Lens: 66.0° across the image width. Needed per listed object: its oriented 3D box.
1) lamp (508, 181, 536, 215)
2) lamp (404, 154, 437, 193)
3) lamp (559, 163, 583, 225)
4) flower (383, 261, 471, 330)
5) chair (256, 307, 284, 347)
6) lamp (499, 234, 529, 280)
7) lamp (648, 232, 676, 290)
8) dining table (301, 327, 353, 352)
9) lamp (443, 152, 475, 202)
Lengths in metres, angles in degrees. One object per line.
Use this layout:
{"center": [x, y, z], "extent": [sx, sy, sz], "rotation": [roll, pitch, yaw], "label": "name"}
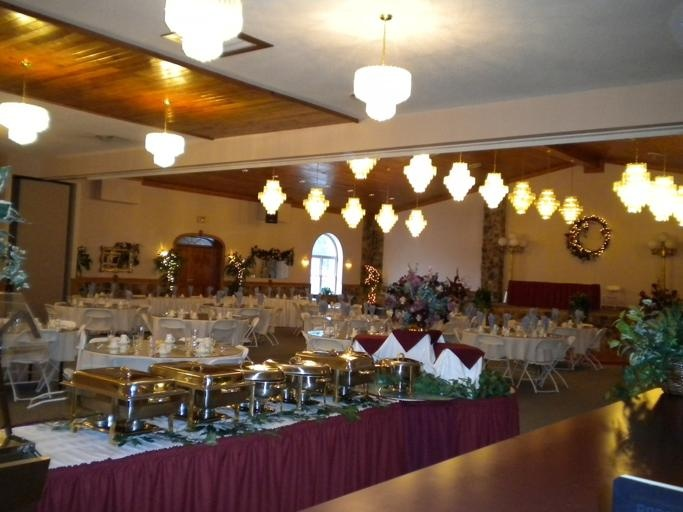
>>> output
{"center": [3.467, -1.164, 10.125], "extent": [0.418, 0.639, 0.556], "rotation": [4, 0, 32], "label": "lamp"}
{"center": [1.139, -1.257, 7.729], "extent": [0.410, 0.562, 0.677], "rotation": [4, 0, 16], "label": "lamp"}
{"center": [5.585, -1.569, 12.673], "extent": [0.580, 1.400, 3.890], "rotation": [4, 0, 24], "label": "lamp"}
{"center": [0.863, 0.385, 4.997], "extent": [0.552, 0.487, 0.680], "rotation": [-2, 20, 34], "label": "flower"}
{"center": [-1.642, 1.543, 11.675], "extent": [0.776, 1.031, 0.865], "rotation": [1, -6, -1], "label": "chair"}
{"center": [4.950, 0.022, 15.373], "extent": [0.667, 1.365, 0.952], "rotation": [3, 0, -35], "label": "lamp"}
{"center": [8.058, 0.125, 13.179], "extent": [0.590, 1.430, 0.448], "rotation": [4, 0, 43], "label": "lamp"}
{"center": [-0.228, 1.298, 7.792], "extent": [0.444, 0.319, 0.964], "rotation": [3, 0, -18], "label": "dining table"}
{"center": [1.781, -1.151, 7.916], "extent": [0.421, 0.647, 0.491], "rotation": [4, 0, 12], "label": "lamp"}
